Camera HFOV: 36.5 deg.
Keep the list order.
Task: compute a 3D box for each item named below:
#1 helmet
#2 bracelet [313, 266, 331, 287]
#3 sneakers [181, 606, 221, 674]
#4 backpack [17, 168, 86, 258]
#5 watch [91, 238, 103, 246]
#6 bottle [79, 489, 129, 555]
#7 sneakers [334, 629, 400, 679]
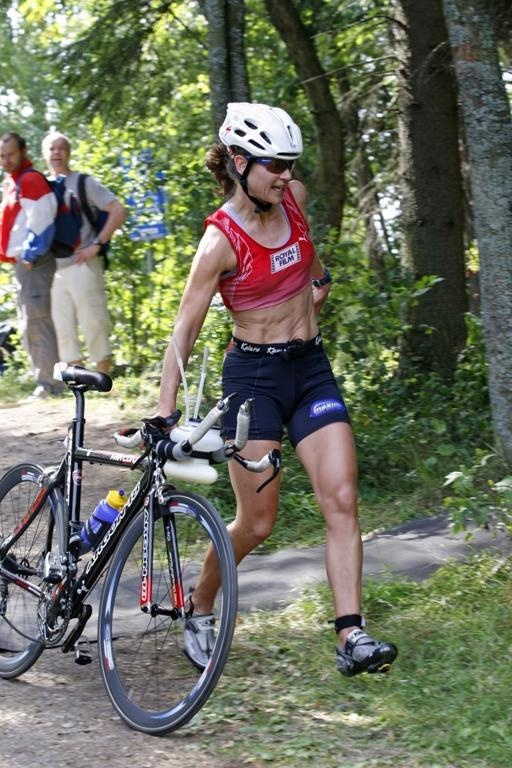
[{"bbox_3d":[0.015,-0.852,2.579,0.219,0.134,0.305,-18,39,-34],"label":"helmet"},{"bbox_3d":[0.285,-0.445,3.266,0.038,0.080,0.075,26,34,24],"label":"bracelet"},{"bbox_3d":[-0.191,0.847,2.547,0.077,0.089,0.218,0,12,-17],"label":"sneakers"},{"bbox_3d":[-1.692,-1.384,6.369,0.530,0.672,0.278,-9,3,-16],"label":"backpack"},{"bbox_3d":[-1.322,-1.186,6.502,0.079,0.052,0.073,40,-10,43],"label":"watch"},{"bbox_3d":[-0.532,0.478,2.760,0.085,0.277,0.082,23,31,-15],"label":"bottle"},{"bbox_3d":[0.311,0.788,2.280,0.088,0.129,0.239,12,-25,-38],"label":"sneakers"}]
